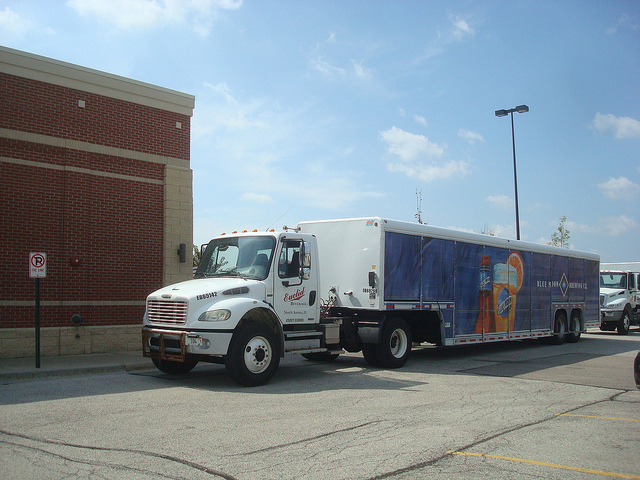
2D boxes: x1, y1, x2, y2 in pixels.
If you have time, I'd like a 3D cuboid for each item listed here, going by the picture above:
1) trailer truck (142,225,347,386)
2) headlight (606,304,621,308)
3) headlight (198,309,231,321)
[{"bbox_3d":[-1.709,1.439,12.121,4.050,3.368,1.976,3,-4,-32],"label":"trailer truck"},{"bbox_3d":[14.350,3.228,25.986,0.637,0.160,0.044,2,-3,-11],"label":"headlight"},{"bbox_3d":[-2.145,1.558,10.939,0.405,0.192,0.280,-5,-4,19],"label":"headlight"}]
